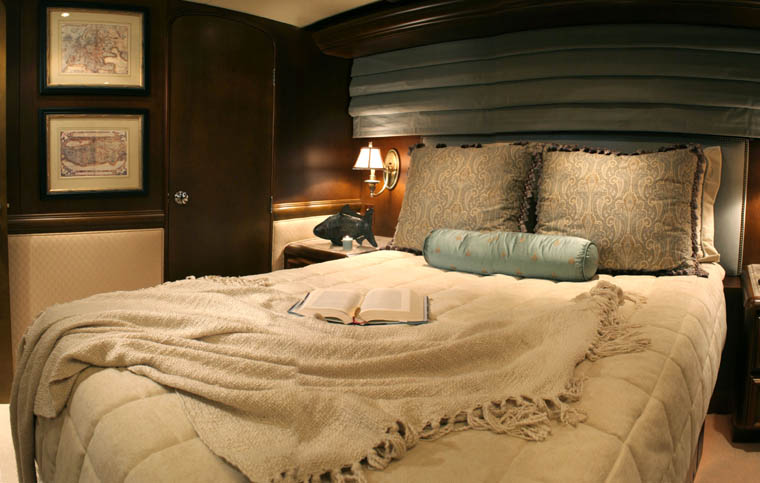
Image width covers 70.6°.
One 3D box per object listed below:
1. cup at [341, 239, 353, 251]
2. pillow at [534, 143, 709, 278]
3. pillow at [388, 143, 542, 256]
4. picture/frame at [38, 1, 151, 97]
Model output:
[{"bbox_3d":[-0.250,0.022,4.155,0.092,0.101,0.091,0,1,0],"label":"cup"},{"bbox_3d":[1.483,-0.160,3.198,0.823,0.653,0.181,2,-8,26],"label":"pillow"},{"bbox_3d":[0.585,-0.352,3.598,0.831,0.792,0.227,-1,-13,36],"label":"pillow"},{"bbox_3d":[-2.036,-1.359,3.733,0.753,0.642,0.059,-2,8,-29],"label":"picture/frame"}]
